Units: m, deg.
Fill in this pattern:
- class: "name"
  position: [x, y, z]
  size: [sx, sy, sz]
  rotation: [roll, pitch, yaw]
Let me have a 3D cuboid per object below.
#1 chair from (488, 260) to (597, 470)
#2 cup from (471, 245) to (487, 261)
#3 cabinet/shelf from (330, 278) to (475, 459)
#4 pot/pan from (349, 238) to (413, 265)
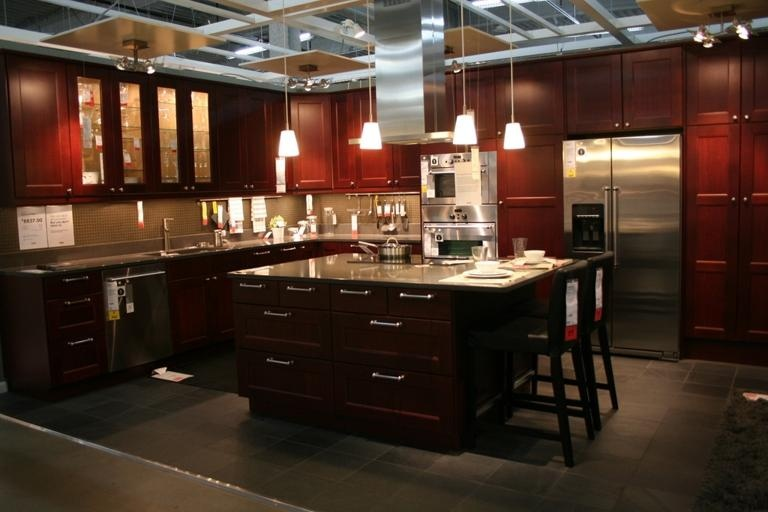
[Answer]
- class: "chair"
  position: [1.226, 0.703, 4.218]
  size: [0.784, 1.365, 1.007]
  rotation: [3, 13, 21]
- class: "cup"
  position: [0.749, -0.017, 4.340]
  size: [0.120, 0.090, 0.104]
  rotation: [-1, 1, 1]
- class: "cabinet/shelf"
  position: [0.263, 0.811, 4.644]
  size: [1.260, 1.608, 1.116]
  rotation: [0, 0, 25]
- class: "pot/pan"
  position: [-0.037, -0.034, 5.232]
  size: [0.280, 0.215, 0.566]
  rotation: [-3, 2, -44]
